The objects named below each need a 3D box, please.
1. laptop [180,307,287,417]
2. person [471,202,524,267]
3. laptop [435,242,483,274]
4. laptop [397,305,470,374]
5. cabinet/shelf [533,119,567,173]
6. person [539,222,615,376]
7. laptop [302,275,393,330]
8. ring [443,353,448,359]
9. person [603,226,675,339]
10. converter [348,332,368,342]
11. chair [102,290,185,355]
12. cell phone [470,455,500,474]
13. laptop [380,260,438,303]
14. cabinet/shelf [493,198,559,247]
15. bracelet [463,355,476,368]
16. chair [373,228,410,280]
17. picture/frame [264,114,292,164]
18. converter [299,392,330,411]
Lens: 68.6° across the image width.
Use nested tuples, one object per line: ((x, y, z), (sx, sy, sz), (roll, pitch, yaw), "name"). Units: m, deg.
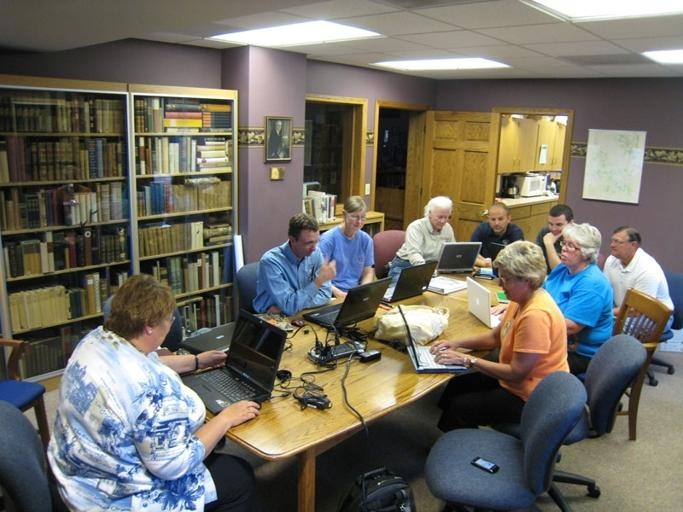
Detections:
((-0.598, 0.550, 2.715), (0.545, 0.353, 0.497), (9, 12, 32), "laptop")
((1.668, -0.056, 5.452), (0.604, 0.989, 0.507), (1, 16, 12), "person")
((1.123, 0.023, 4.824), (0.410, 0.302, 0.304), (-2, 20, -18), "laptop")
((0.546, 0.536, 3.226), (0.314, 0.421, 0.507), (-15, -8, 17), "laptop")
((3.802, -1.982, 9.283), (0.998, 0.889, 0.361), (-1, 12, -32), "cabinet/shelf")
((1.735, 0.329, 3.779), (0.648, 1.072, 0.586), (-16, 17, -39), "person")
((0.044, 0.290, 3.484), (0.558, 0.346, 0.557), (7, 17, 0), "laptop")
((0.653, 0.633, 3.137), (0.031, 0.020, 0.008), (-10, -23, 37), "ring")
((2.702, 0.253, 4.678), (0.650, 0.994, 0.709), (-9, 11, 5), "person")
((0.113, 0.548, 3.397), (0.089, 0.034, 0.055), (11, 13, 37), "converter")
((-1.253, 0.433, 3.433), (0.257, 0.337, 0.335), (17, -6, 27), "chair")
((0.770, 1.123, 2.688), (0.100, 0.025, 0.060), (18, 29, 42), "cell phone")
((0.514, 0.137, 4.142), (0.444, 0.292, 0.321), (-12, 34, -38), "laptop")
((2.999, -0.565, 8.492), (1.425, 0.699, 0.448), (-12, 22, -43), "cabinet/shelf")
((0.797, 0.663, 3.114), (0.054, 0.087, 0.085), (5, 7, 5), "bracelet")
((0.415, -0.034, 5.468), (0.389, 0.553, 0.447), (-1, 3, -17), "chair")
((-0.707, -1.296, 5.468), (0.055, 0.572, 0.477), (12, 17, 41), "picture/frame")
((-0.149, 0.784, 2.699), (0.119, 0.049, 0.082), (4, -2, 12), "converter")
